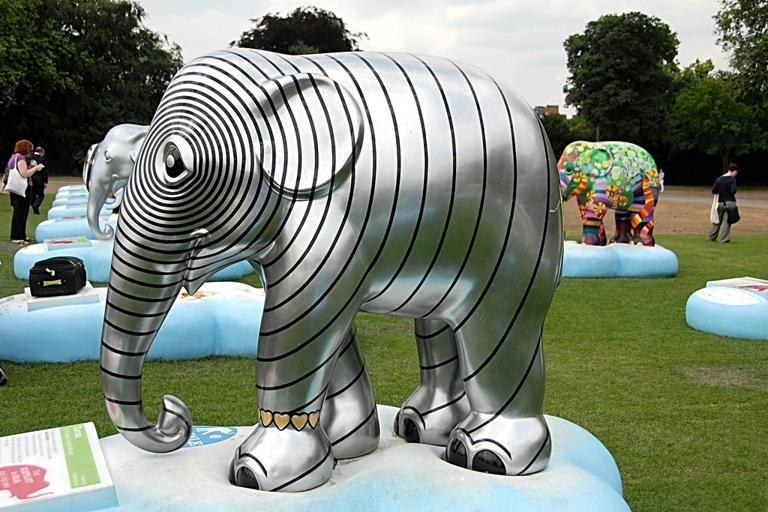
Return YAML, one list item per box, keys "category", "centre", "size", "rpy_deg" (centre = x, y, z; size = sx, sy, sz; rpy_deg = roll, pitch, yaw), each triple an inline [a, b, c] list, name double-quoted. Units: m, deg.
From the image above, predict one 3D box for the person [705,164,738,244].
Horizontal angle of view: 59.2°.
- category: "person"
  centre: [6.366, -1.031, 12.697]
  size: [0.461, 1.425, 1.831]
  rpy_deg: [6, 11, 26]

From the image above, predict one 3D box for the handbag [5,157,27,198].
- category: "handbag"
  centre: [-5.524, -1.218, 10.245]
  size: [0.302, 0.604, 0.522]
  rpy_deg: [-4, 12, -31]

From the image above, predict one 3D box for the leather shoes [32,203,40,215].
- category: "leather shoes"
  centre: [-7.396, -1.027, 14.493]
  size: [0.058, 0.222, 0.139]
  rpy_deg: [-5, 23, -3]

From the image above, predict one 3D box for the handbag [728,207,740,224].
- category: "handbag"
  centre: [6.206, -0.752, 12.066]
  size: [0.155, 0.310, 0.550]
  rpy_deg: [8, 12, 33]
